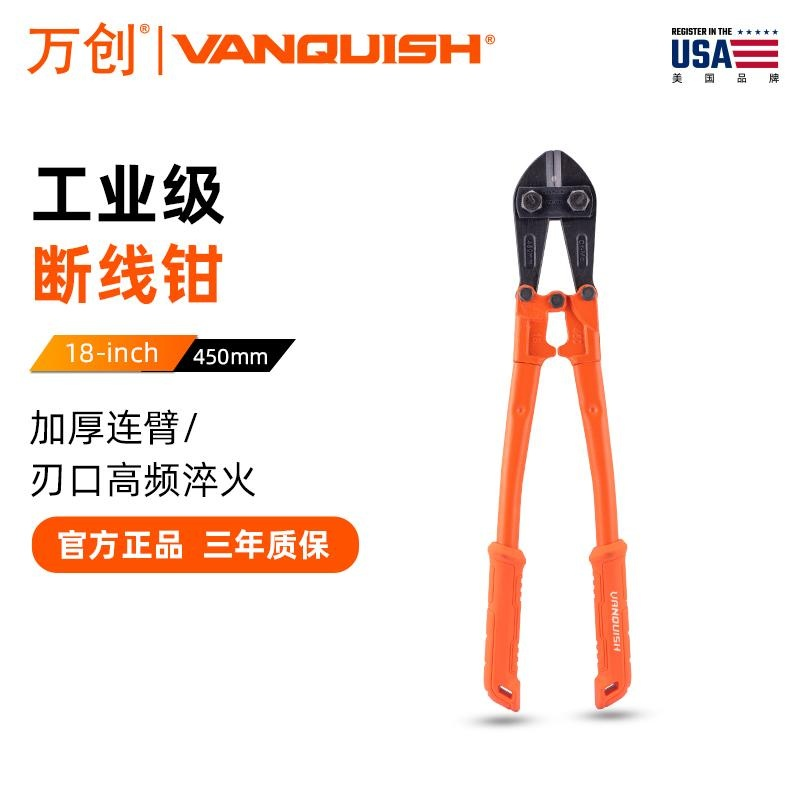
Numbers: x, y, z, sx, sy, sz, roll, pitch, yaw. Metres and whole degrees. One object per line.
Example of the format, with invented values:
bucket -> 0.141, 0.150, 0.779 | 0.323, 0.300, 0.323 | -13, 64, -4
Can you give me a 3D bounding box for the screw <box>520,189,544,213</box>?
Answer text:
screw -> 0.535, -0.808, 4.004 | 0.103, 0.089, 0.033 | 1, -4, 3
